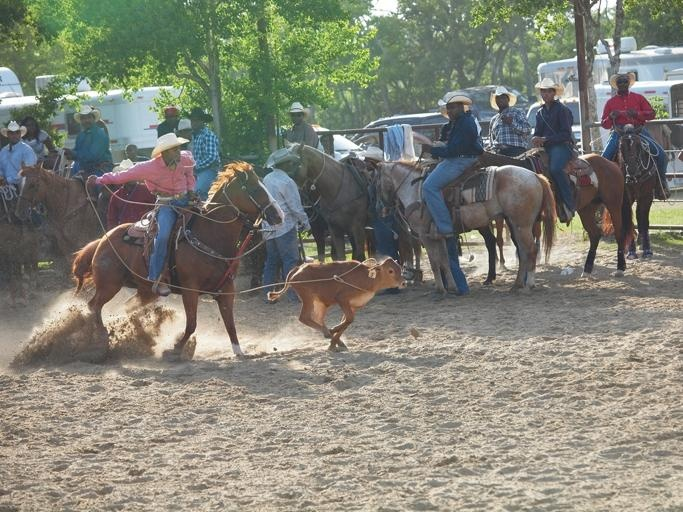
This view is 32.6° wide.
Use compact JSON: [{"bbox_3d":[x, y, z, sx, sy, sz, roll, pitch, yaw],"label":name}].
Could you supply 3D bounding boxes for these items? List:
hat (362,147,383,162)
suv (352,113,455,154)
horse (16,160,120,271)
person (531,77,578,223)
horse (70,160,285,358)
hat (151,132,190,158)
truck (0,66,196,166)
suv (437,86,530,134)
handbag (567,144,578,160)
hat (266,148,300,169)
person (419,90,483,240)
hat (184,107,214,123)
[{"bbox_3d":[0.570,-1.835,20.703,0.306,0.084,0.298,6,-3,0],"label":"hat"},{"bbox_3d":[1.656,-3.560,35.288,3.121,1.411,1.763,1,-1,-4],"label":"suv"},{"bbox_3d":[-4.678,-0.609,21.528,0.771,1.870,3.025,8,8,37],"label":"horse"},{"bbox_3d":[3.681,-1.788,20.185,0.652,2.344,0.828,-2,13,10],"label":"person"},{"bbox_3d":[-2.593,0.159,17.799,3.983,2.785,1.070,-5,-3,29],"label":"horse"},{"bbox_3d":[-2.614,-1.635,17.263,0.479,0.171,0.432,-24,3,19],"label":"hat"},{"bbox_3d":[-6.987,-3.378,29.415,6.206,2.795,2.339,-7,16,-28],"label":"truck"},{"bbox_3d":[4.400,-4.937,40.092,2.614,2.193,5.058,-2,2,-3],"label":"suv"},{"bbox_3d":[3.965,-1.809,20.070,0.158,0.227,0.238,0,-12,-15],"label":"handbag"},{"bbox_3d":[-1.027,-1.572,19.243,0.393,0.125,0.387,-16,6,-35],"label":"hat"},{"bbox_3d":[1.830,-1.550,19.531,0.698,2.329,0.993,9,18,44],"label":"person"},{"bbox_3d":[-2.547,-2.604,21.023,0.397,0.154,0.447,-8,-20,22],"label":"hat"}]
